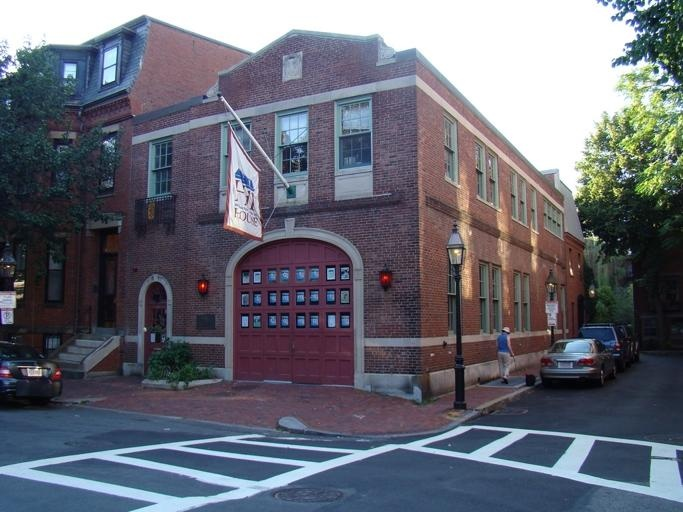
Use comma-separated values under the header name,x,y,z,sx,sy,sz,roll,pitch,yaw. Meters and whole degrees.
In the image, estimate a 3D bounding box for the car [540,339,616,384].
name,x,y,z,sx,sy,sz,roll,pitch,yaw
car,8.530,3.705,22.545,2.938,1.687,1.620,9,-13,-43

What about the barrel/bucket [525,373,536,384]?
name,x,y,z,sx,sy,sz,roll,pitch,yaw
barrel/bucket,6.647,4.377,22.281,0.302,0.393,0.386,-7,-21,35

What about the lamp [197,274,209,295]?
name,x,y,z,sx,sy,sz,roll,pitch,yaw
lamp,-4.927,1.002,22.414,0.443,0.780,0.243,-6,-11,32

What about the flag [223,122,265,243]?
name,x,y,z,sx,sy,sz,roll,pitch,yaw
flag,-3.011,-2.249,19.870,0.275,3.968,3.215,-9,-22,18

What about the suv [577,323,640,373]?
name,x,y,z,sx,sy,sz,roll,pitch,yaw
suv,12.307,4.112,29.075,1.973,1.715,4.426,-3,-3,32
